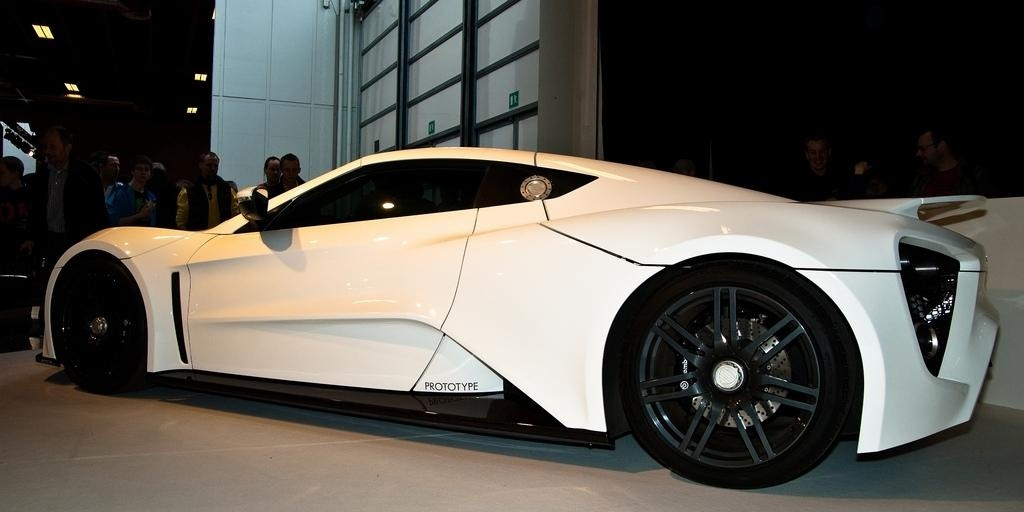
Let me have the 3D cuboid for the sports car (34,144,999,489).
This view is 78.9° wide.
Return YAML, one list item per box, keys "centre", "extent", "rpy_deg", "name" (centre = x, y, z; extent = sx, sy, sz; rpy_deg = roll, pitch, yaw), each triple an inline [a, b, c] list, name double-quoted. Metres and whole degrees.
- centre: [0.126, 0.486, 5.813]
  extent: [6.353, 1.694, 3.469]
  rpy_deg: [3, -1, 19]
  name: "sports car"
